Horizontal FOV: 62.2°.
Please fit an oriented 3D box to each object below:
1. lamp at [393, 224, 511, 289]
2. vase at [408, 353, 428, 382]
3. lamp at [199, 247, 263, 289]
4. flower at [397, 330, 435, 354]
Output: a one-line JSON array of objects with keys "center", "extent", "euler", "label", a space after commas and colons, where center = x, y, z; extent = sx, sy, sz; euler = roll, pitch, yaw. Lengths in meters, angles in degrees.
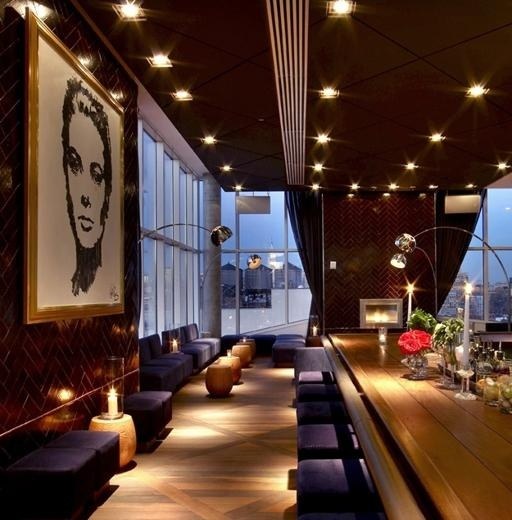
[{"center": [4.215, -0.073, 9.231], "extent": [2.189, 1.693, 0.603], "euler": [8, 20, 4], "label": "lamp"}, {"center": [1.049, 0.687, 2.764], "extent": [0.128, 0.241, 0.139], "euler": [2, -5, 9], "label": "vase"}, {"center": [-0.390, 0.110, 10.432], "extent": [1.708, 0.995, 1.317], "euler": [-3, -5, 33], "label": "lamp"}, {"center": [1.050, 0.528, 2.786], "extent": [0.166, 0.081, 0.155], "euler": [-23, 27, -31], "label": "flower"}]
